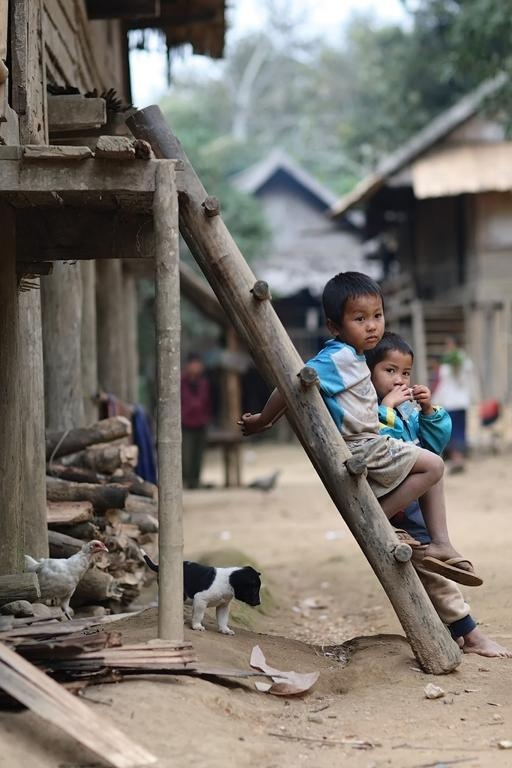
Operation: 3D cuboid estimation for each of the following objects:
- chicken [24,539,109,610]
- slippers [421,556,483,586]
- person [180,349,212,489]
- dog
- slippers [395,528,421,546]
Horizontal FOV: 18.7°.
[{"bbox_3d":[-1.113,1.056,8.523,0.633,0.402,0.234,0,-7,28],"label":"chicken"},{"bbox_3d":[1.033,0.985,8.145,0.324,0.159,0.257,10,7,6],"label":"slippers"},{"bbox_3d":[-0.727,0.472,17.958,0.336,1.395,0.393,4,3,1],"label":"person"},{"bbox_3d":[-0.217,1.156,8.418,0.435,0.431,0.380,10,8,-2],"label":"dog"},{"bbox_3d":[0.812,0.826,8.214,0.103,0.038,0.099,25,10,-29],"label":"slippers"}]
